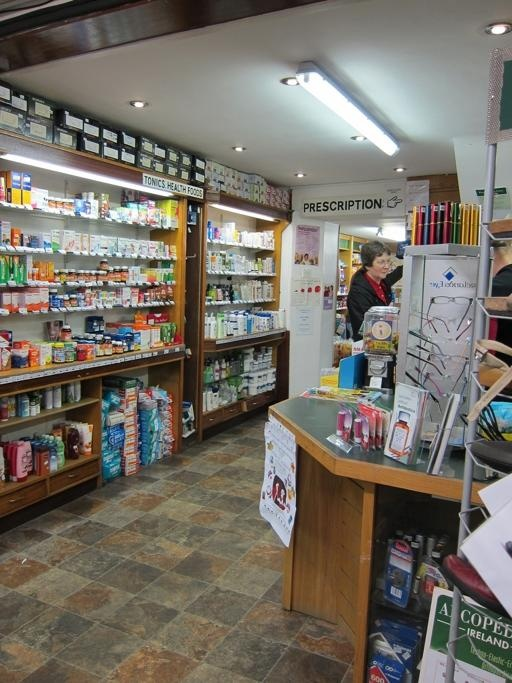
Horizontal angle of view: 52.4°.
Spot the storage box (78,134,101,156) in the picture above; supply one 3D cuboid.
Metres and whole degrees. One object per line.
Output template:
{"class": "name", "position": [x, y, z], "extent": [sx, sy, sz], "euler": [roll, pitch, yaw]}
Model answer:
{"class": "storage box", "position": [-1.166, -1.394, 3.700], "extent": [0.108, 0.127, 0.200], "euler": [6, 12, 22]}

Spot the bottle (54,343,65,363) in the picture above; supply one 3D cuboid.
{"class": "bottle", "position": [-1.378, 0.080, 3.653], "extent": [0.084, 0.137, 0.057], "euler": [0, 6, -23]}

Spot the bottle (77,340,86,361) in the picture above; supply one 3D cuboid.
{"class": "bottle", "position": [-1.278, 0.076, 3.833], "extent": [0.056, 0.119, 0.088], "euler": [2, 5, -1]}

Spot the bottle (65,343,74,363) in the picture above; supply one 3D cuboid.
{"class": "bottle", "position": [-1.328, 0.073, 3.722], "extent": [0.043, 0.136, 0.090], "euler": [5, 6, 26]}

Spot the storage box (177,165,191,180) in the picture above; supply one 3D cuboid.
{"class": "storage box", "position": [-0.651, -1.527, 4.692], "extent": [0.091, 0.152, 0.167], "euler": [9, 13, 24]}

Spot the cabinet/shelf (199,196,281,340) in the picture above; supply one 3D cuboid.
{"class": "cabinet/shelf", "position": [-0.198, -0.851, 5.956], "extent": [0.561, 1.594, 1.697], "euler": [2, 4, 30]}

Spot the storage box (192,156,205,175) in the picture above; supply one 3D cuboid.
{"class": "storage box", "position": [-0.541, -1.646, 4.872], "extent": [0.110, 0.140, 0.205], "euler": [8, 15, 22]}

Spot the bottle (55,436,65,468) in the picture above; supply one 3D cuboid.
{"class": "bottle", "position": [-1.381, 0.777, 3.687], "extent": [0.063, 0.195, 0.179], "euler": [0, 5, -19]}

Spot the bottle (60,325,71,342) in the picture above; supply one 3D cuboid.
{"class": "bottle", "position": [-1.390, -0.058, 3.829], "extent": [0.064, 0.103, 0.132], "euler": [-2, 6, -36]}

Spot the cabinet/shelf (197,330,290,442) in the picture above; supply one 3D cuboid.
{"class": "cabinet/shelf", "position": [0.065, 0.515, 7.001], "extent": [0.555, 1.197, 2.117], "euler": [16, 9, 20]}

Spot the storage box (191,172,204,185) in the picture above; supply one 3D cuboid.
{"class": "storage box", "position": [-0.549, -1.529, 4.869], "extent": [0.082, 0.139, 0.146], "euler": [3, 11, 22]}

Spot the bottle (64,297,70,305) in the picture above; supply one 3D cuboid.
{"class": "bottle", "position": [-1.370, -0.294, 3.785], "extent": [0.043, 0.042, 0.078], "euler": [11, -20, -21]}

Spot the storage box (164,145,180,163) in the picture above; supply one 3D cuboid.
{"class": "storage box", "position": [-0.723, -1.618, 4.515], "extent": [0.030, 0.110, 0.120], "euler": [4, 6, 22]}

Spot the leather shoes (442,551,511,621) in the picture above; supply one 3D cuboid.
{"class": "leather shoes", "position": [0.404, 0.454, 0.990], "extent": [0.121, 0.032, 0.094], "euler": [43, 3, 28]}

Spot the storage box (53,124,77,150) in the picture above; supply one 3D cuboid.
{"class": "storage box", "position": [-1.273, -1.371, 3.512], "extent": [0.119, 0.132, 0.197], "euler": [5, 12, 21]}

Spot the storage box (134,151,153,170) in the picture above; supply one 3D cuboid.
{"class": "storage box", "position": [-0.905, -1.460, 4.232], "extent": [0.109, 0.122, 0.191], "euler": [3, 7, 19]}

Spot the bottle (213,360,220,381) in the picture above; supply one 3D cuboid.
{"class": "bottle", "position": [-0.423, 0.310, 5.714], "extent": [0.057, 0.206, 0.125], "euler": [2, 5, -1]}

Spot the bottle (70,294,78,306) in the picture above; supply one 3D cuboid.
{"class": "bottle", "position": [-1.338, -0.303, 3.843], "extent": [0.025, 0.088, 0.065], "euler": [6, 6, 37]}

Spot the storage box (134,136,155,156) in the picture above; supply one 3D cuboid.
{"class": "storage box", "position": [-0.877, -1.576, 4.218], "extent": [0.128, 0.162, 0.234], "euler": [3, 9, 17]}

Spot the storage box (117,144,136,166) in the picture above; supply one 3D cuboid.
{"class": "storage box", "position": [-0.995, -1.452, 4.076], "extent": [0.110, 0.132, 0.192], "euler": [3, 7, 23]}

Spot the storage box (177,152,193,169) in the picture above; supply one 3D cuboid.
{"class": "storage box", "position": [-0.640, -1.631, 4.695], "extent": [0.118, 0.142, 0.207], "euler": [6, 9, 22]}

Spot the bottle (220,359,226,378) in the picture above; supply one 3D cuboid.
{"class": "bottle", "position": [-0.357, 0.305, 5.832], "extent": [0.042, 0.217, 0.147], "euler": [3, 5, 12]}
